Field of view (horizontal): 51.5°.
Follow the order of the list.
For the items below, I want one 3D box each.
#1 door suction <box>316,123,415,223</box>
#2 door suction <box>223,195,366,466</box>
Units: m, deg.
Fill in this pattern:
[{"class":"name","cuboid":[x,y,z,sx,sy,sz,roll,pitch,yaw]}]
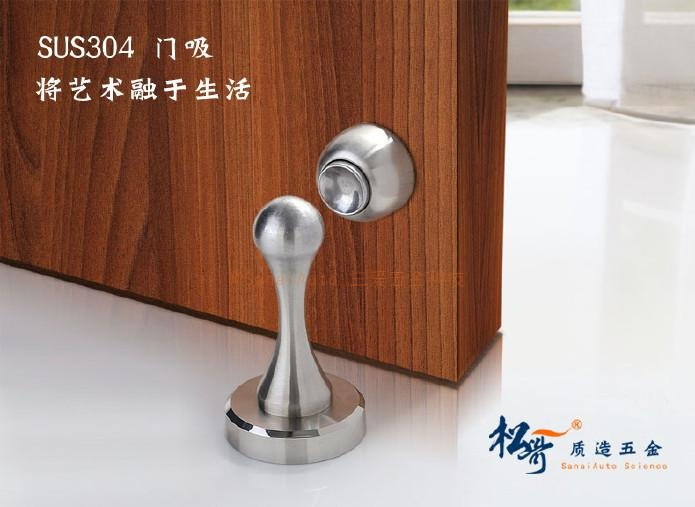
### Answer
[{"class":"door suction","cuboid":[-0.002,-0.041,0.448,0.062,0.059,0.017,41,47,9]},{"class":"door suction","cuboid":[-0.029,0.042,0.422,0.083,0.149,0.059,1,11,-10]}]
